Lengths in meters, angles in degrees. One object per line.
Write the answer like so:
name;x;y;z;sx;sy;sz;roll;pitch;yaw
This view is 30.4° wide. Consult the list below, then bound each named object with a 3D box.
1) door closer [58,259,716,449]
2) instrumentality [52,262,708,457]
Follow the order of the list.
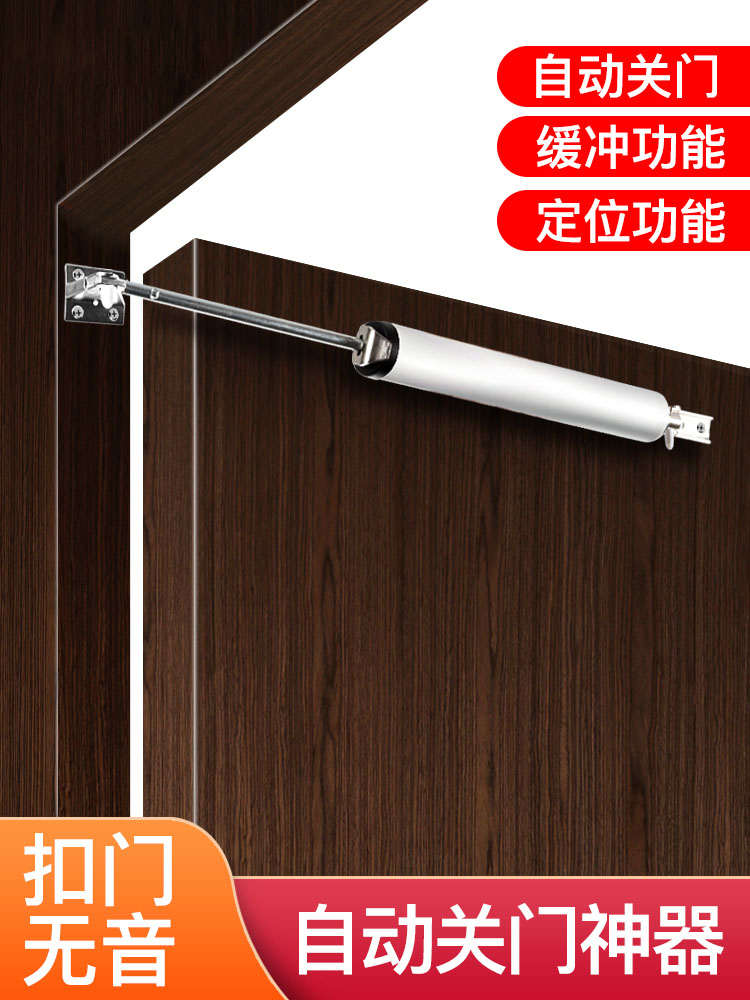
door closer;-0.008;-0.127;1.229;0.639;0.103;0.077;9;-21;-31
instrumentality;-0.014;-0.121;1.225;0.657;0.107;0.077;9;-20;-31
